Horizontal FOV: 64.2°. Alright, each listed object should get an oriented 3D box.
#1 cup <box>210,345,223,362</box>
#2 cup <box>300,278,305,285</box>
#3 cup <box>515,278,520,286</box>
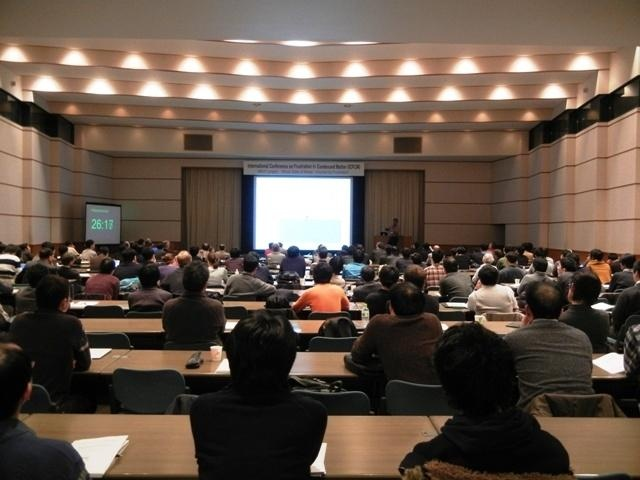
[{"bbox_3d":[-0.807,0.879,3.966,0.110,0.095,0.106,-1,-1,0],"label":"cup"},{"bbox_3d":[-0.273,0.646,7.973,0.044,0.078,0.077,-4,-3,13],"label":"cup"},{"bbox_3d":[3.054,0.643,7.881,0.095,0.106,0.083,-4,-7,37],"label":"cup"}]
